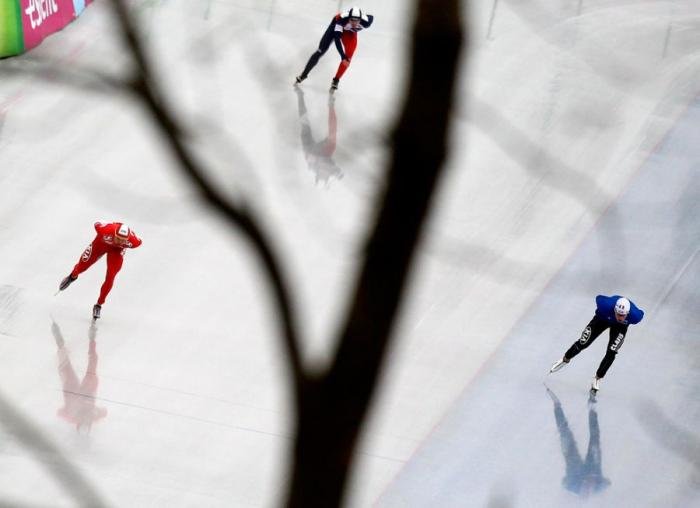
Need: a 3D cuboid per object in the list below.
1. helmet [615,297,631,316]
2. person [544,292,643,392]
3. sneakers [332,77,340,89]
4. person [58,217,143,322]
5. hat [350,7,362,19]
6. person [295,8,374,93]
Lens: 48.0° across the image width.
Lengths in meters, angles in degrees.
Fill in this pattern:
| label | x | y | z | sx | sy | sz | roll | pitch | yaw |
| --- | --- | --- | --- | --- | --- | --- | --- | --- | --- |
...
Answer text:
| label | x | y | z | sx | sy | sz | roll | pitch | yaw |
| --- | --- | --- | --- | --- | --- | --- | --- | --- | --- |
| helmet | 3.570 | 0.673 | 10.456 | 0.165 | 0.187 | 0.235 | 12 | 66 | 0 |
| person | 3.421 | 1.225 | 10.899 | 0.726 | 1.550 | 0.516 | 23 | 51 | 7 |
| sneakers | -0.280 | -2.945 | 13.700 | 0.094 | 0.158 | 0.153 | 5 | 6 | -18 |
| person | -3.329 | 0.009 | 10.684 | 0.685 | 1.838 | 0.495 | 22 | 33 | -21 |
| hat | 0.076 | -3.965 | 12.988 | 0.189 | 0.176 | 0.248 | 8 | 29 | 4 |
| person | -0.275 | -3.551 | 13.506 | 1.075 | 1.471 | 0.836 | 22 | 32 | 28 |
